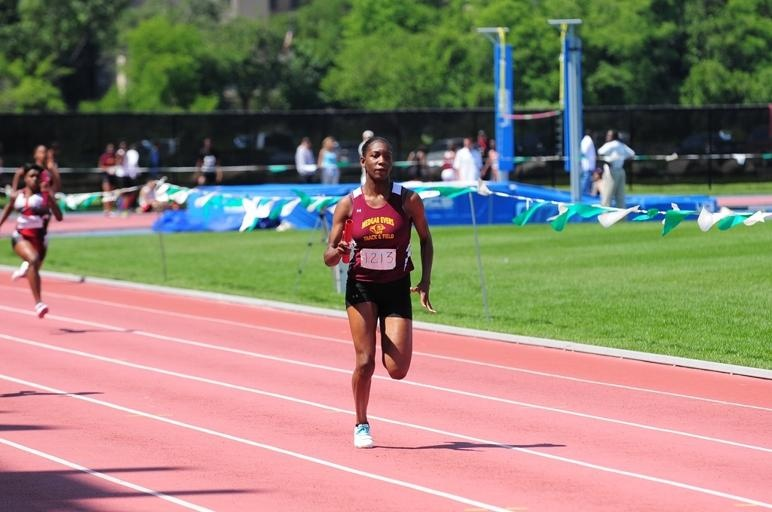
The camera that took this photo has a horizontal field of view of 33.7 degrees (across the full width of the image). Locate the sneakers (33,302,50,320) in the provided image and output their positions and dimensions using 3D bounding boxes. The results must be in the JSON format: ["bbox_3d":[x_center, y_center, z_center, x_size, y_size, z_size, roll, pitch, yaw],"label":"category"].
[{"bbox_3d":[-5.471,0.830,20.131,0.189,0.175,0.422,-35,-2,-32],"label":"sneakers"}]

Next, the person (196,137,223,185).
[{"bbox_3d":[-5.385,-2.871,38.461,0.814,1.347,2.803,-1,5,-8],"label":"person"}]

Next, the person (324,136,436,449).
[{"bbox_3d":[-0.104,0.458,15.430,1.271,3.779,0.560,0,5,1],"label":"person"}]

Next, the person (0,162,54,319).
[{"bbox_3d":[-5.642,-0.271,20.403,0.638,2.414,1.270,-3,6,-35],"label":"person"}]
